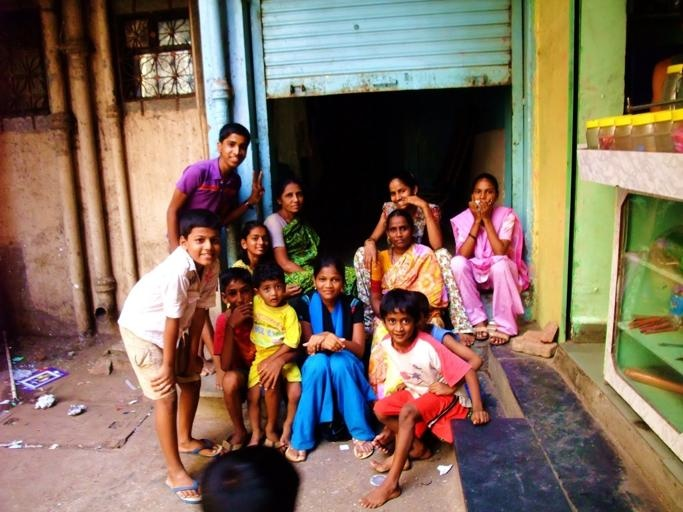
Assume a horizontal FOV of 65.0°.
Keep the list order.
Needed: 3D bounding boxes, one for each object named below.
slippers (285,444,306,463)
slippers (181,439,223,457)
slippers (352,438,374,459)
[{"bbox_3d":[-0.310,1.345,3.642,0.154,0.073,0.141,1,14,7],"label":"slippers"},{"bbox_3d":[-0.953,1.324,3.705,0.253,0.071,0.120,2,33,-4],"label":"slippers"},{"bbox_3d":[0.147,1.305,3.616,0.119,0.097,0.284,0,-1,3],"label":"slippers"}]
